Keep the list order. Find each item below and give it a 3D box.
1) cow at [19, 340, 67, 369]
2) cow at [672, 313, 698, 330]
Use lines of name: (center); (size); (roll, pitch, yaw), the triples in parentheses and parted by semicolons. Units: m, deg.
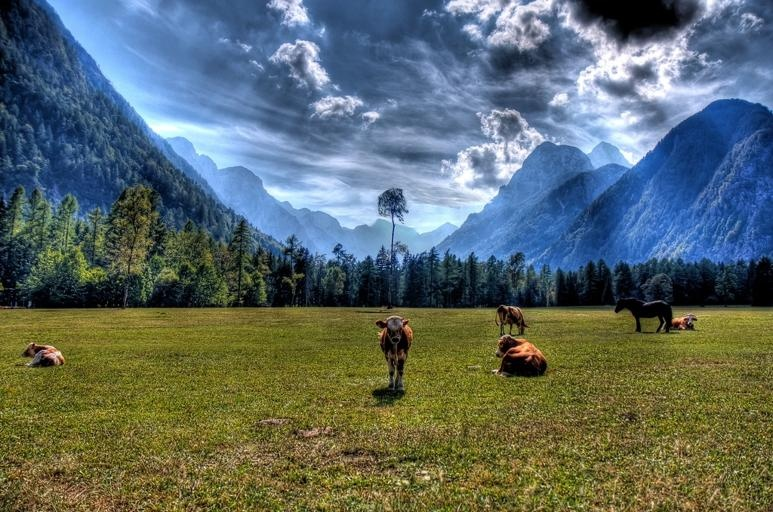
cow: (-33.300, 9.594, 57.493); (3.517, 1.724, 2.202); (13, -7, 22)
cow: (37.831, 8.238, 74.971); (2.442, 1.865, 2.746); (6, 9, 43)
